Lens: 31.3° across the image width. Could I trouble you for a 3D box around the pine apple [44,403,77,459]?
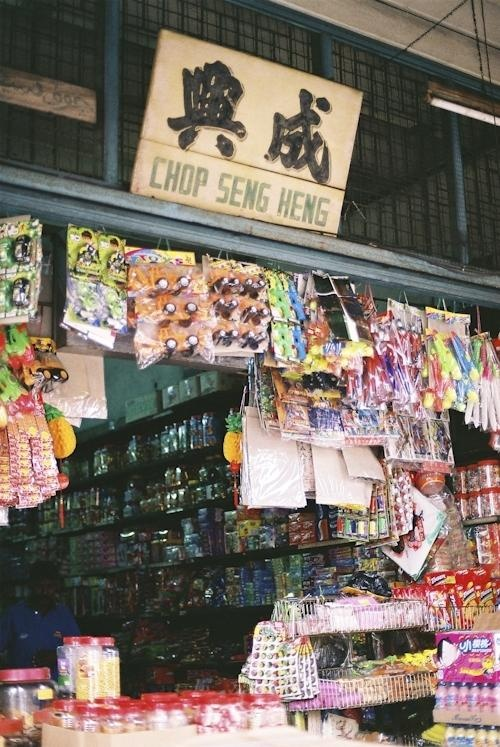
[{"bbox_3d":[-0.706,0.203,3.315,0.108,0.203,0.183,-1,-9,-12],"label":"pine apple"}]
